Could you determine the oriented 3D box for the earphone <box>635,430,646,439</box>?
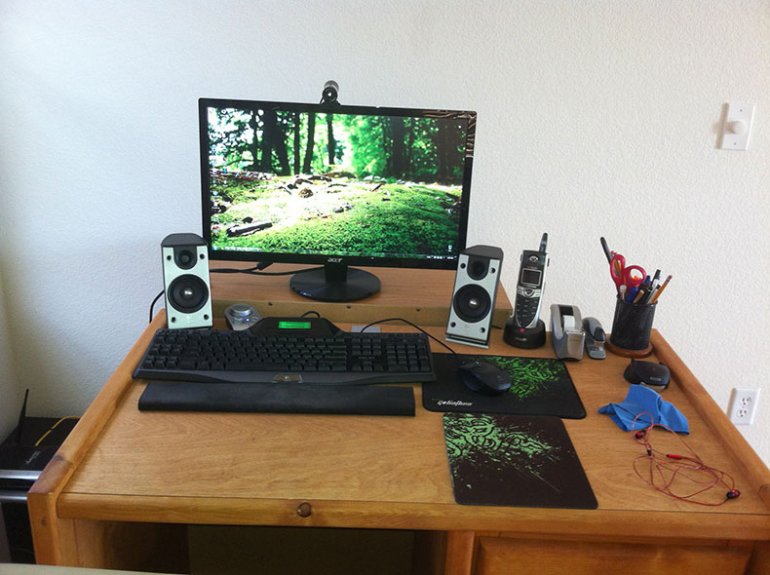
[{"bbox_3d":[0.532,0.306,1.237,0.010,0.007,0.032,7,23,42],"label":"earphone"}]

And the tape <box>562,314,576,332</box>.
[{"bbox_3d":[0.467,0.090,1.516,0.032,0.058,0.031,-1,54,4],"label":"tape"}]

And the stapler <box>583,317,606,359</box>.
[{"bbox_3d":[0.520,0.126,1.480,0.042,0.055,0.142,1,34,5],"label":"stapler"}]

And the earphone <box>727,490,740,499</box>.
[{"bbox_3d":[0.651,0.386,1.112,0.027,0.011,0.012,-6,1,-44],"label":"earphone"}]

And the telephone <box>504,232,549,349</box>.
[{"bbox_3d":[0.366,0.009,1.495,0.115,0.273,0.114,11,20,23],"label":"telephone"}]
